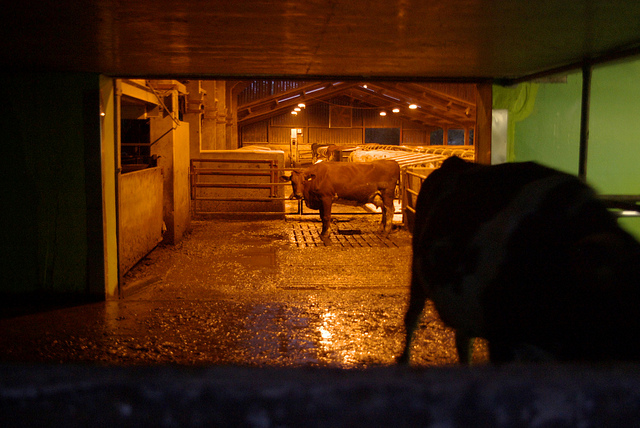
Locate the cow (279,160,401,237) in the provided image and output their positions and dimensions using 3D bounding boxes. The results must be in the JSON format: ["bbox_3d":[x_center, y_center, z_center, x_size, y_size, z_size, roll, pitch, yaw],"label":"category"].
[{"bbox_3d":[0.585,-0.441,13.575,2.942,2.066,1.088,-2,18,1],"label":"cow"}]

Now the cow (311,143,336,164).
[{"bbox_3d":[0.303,-3.863,32.800,1.578,1.722,1.220,-1,5,-8],"label":"cow"}]

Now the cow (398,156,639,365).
[{"bbox_3d":[1.219,0.362,3.480,0.507,1.365,2.102,-1,7,-12],"label":"cow"}]
